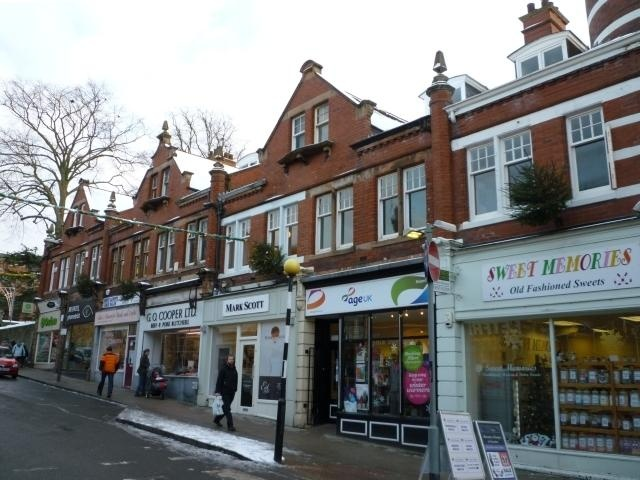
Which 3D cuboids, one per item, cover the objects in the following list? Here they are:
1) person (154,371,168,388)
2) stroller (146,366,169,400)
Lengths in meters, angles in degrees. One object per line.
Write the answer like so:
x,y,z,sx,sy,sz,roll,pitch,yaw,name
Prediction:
-7.043,6.156,23.305,0.558,0.758,0.377,-4,-13,34,person
-7.394,6.347,23.591,0.911,1.371,1.373,12,-31,-32,stroller
